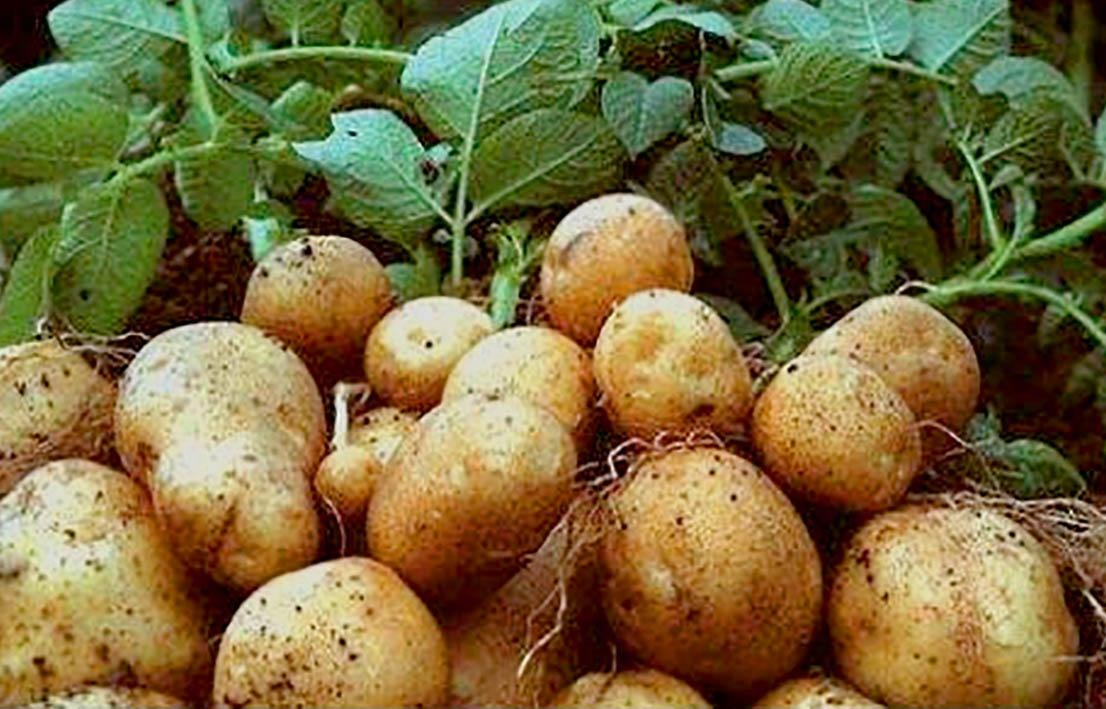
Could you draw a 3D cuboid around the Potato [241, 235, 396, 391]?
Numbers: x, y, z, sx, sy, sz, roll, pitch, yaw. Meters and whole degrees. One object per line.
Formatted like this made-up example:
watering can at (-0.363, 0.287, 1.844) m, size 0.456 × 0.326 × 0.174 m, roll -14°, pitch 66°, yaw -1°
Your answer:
Potato at (-0.259, -0.073, 1.465) m, size 0.158 × 0.125 × 0.138 m, roll 2°, pitch 83°, yaw -11°
